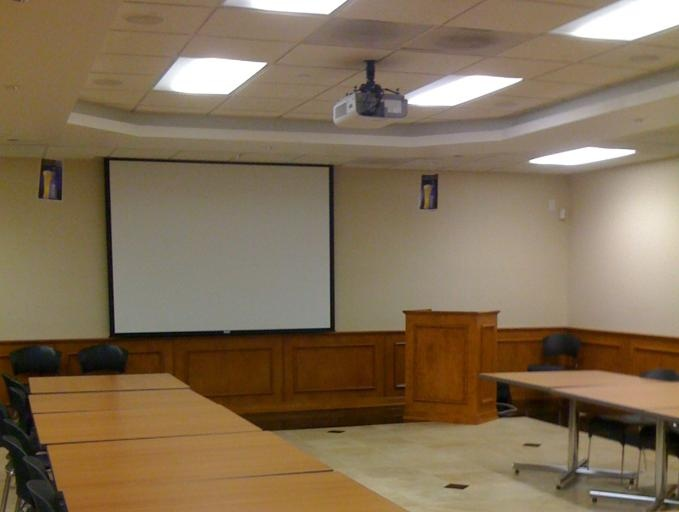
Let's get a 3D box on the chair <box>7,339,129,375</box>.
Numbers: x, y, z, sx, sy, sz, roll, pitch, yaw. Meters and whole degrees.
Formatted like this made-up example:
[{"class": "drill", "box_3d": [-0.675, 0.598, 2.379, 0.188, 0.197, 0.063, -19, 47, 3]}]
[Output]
[{"class": "chair", "box_3d": [-3.485, 1.365, 7.478, 1.362, 0.413, 0.472, 0, -1, -17]}]
